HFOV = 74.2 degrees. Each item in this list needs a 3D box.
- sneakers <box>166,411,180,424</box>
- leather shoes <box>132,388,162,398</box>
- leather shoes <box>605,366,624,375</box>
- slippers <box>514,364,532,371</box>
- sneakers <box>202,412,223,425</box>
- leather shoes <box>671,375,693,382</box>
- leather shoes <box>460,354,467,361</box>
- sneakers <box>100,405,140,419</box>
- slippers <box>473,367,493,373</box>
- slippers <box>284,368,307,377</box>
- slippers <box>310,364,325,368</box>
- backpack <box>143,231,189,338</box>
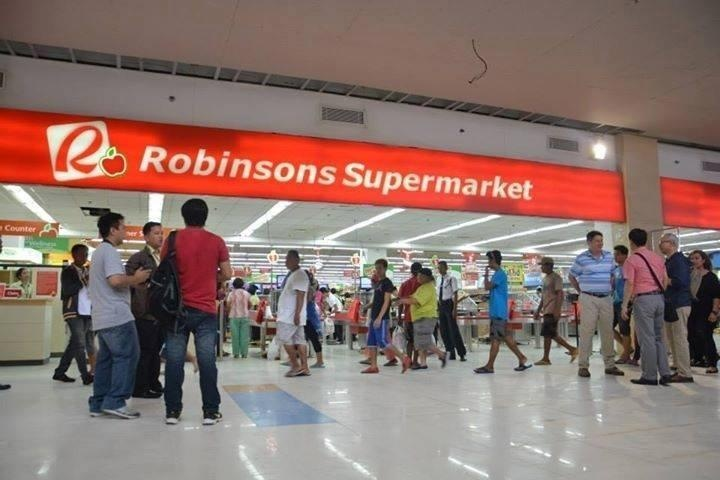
[{"bbox_3d":[-1.729,1.636,4.414,0.120,0.114,0.107,4,-13,-26],"label":"sneakers"},{"bbox_3d":[-2.494,1.803,5.616,0.356,0.123,0.103,1,-5,-6],"label":"leather shoes"},{"bbox_3d":[3.654,1.871,6.836,0.097,0.090,0.228,4,-9,-34],"label":"leather shoes"},{"bbox_3d":[2.599,1.989,7.491,0.375,0.110,0.137,6,-16,-40],"label":"slippers"},{"bbox_3d":[-1.349,1.641,4.366,0.073,0.078,0.194,0,-1,16],"label":"sneakers"},{"bbox_3d":[4.177,1.795,6.215,0.311,0.081,0.113,6,-4,0],"label":"leather shoes"},{"bbox_3d":[1.931,2.191,8.838,0.111,0.167,0.110,-1,1,10],"label":"leather shoes"},{"bbox_3d":[-2.342,1.658,4.665,0.375,0.147,0.130,9,-9,-8],"label":"sneakers"},{"bbox_3d":[1.869,1.967,7.193,0.292,0.103,0.100,2,-11,2],"label":"slippers"},{"bbox_3d":[-0.925,1.922,6.914,0.306,0.113,0.126,4,-9,-11],"label":"slippers"},{"bbox_3d":[-0.714,2.073,7.903,0.188,0.061,0.092,2,-9,2],"label":"slippers"},{"bbox_3d":[-1.756,0.355,4.366,0.338,0.871,0.110,2,-13,-14],"label":"backpack"}]
